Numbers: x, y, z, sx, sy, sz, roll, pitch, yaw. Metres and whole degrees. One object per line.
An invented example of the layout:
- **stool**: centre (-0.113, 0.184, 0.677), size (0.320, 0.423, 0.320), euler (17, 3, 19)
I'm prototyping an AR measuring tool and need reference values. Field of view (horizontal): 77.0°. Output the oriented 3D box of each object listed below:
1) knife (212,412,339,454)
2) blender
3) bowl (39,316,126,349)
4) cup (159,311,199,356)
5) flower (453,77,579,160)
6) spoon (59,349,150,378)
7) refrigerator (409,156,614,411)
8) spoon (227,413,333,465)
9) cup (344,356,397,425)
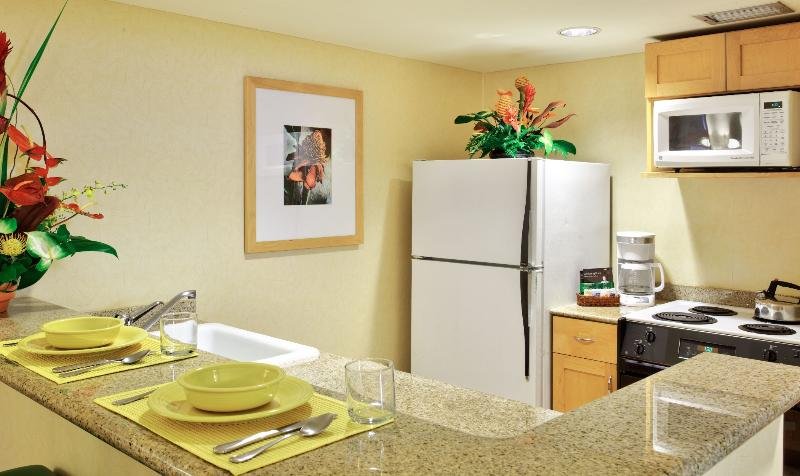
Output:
- **knife**: centre (-0.339, 0.510, 1.439), size (0.380, 0.037, 0.101), euler (-6, 6, -43)
- **blender**: centre (1.724, 0.231, 3.662), size (0.284, 0.525, 0.194), euler (5, 15, 20)
- **bowl**: centre (-1.252, 0.373, 1.984), size (0.230, 0.094, 0.226), euler (0, 12, 0)
- **cup**: centre (-0.873, 0.367, 1.964), size (0.159, 0.191, 0.100), euler (-3, 14, -11)
- **flower**: centre (0.883, -0.801, 3.971), size (0.853, 0.518, 0.806), euler (2, 1, 4)
- **spoon**: centre (-1.090, 0.466, 1.867), size (0.318, 0.019, 0.098), euler (-9, 15, -35)
- **refrigerator**: centre (0.754, 0.280, 3.765), size (1.450, 1.747, 0.836), euler (3, 14, 15)
- **spoon**: centre (-0.305, 0.552, 1.407), size (0.085, 0.050, 0.357), euler (6, 12, 37)
- **cup**: centre (-0.086, 0.456, 1.493), size (0.147, 0.206, 0.088), euler (-1, 14, -4)
